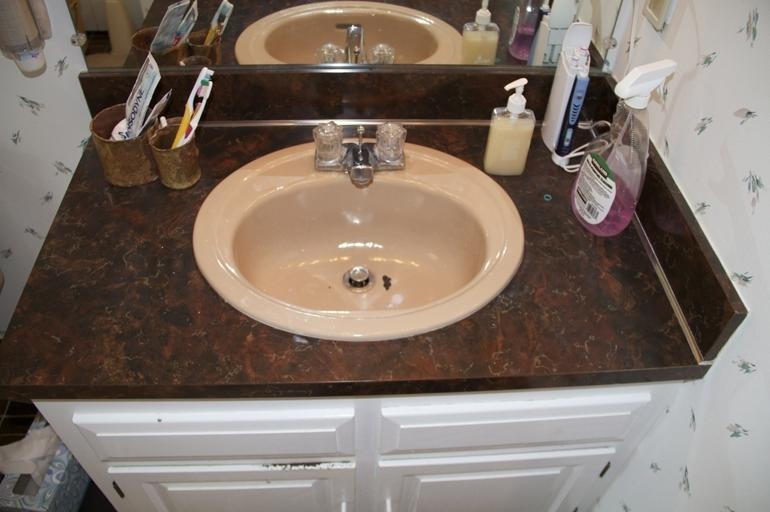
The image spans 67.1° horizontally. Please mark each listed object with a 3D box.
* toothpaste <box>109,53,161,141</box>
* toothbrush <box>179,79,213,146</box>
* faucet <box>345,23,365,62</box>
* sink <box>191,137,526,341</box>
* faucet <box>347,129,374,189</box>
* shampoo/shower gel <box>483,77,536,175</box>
[{"bbox_3d":[-0.643,-0.413,1.500,0.141,0.161,0.241,-8,54,-8],"label":"toothpaste"},{"bbox_3d":[-0.483,-0.371,1.495,0.056,0.035,0.220,27,71,-27],"label":"toothbrush"},{"bbox_3d":[-0.082,-0.590,1.587,0.040,0.093,0.061,-7,59,-8],"label":"faucet"},{"bbox_3d":[-0.065,-0.064,1.441,0.656,0.248,0.549,-1,55,-2],"label":"sink"},{"bbox_3d":[-0.063,-0.263,1.585,0.076,0.108,0.153,0,54,-3],"label":"faucet"},{"bbox_3d":[0.345,-0.356,1.546,0.163,0.252,0.118,-6,39,-8],"label":"shampoo/shower gel"}]
